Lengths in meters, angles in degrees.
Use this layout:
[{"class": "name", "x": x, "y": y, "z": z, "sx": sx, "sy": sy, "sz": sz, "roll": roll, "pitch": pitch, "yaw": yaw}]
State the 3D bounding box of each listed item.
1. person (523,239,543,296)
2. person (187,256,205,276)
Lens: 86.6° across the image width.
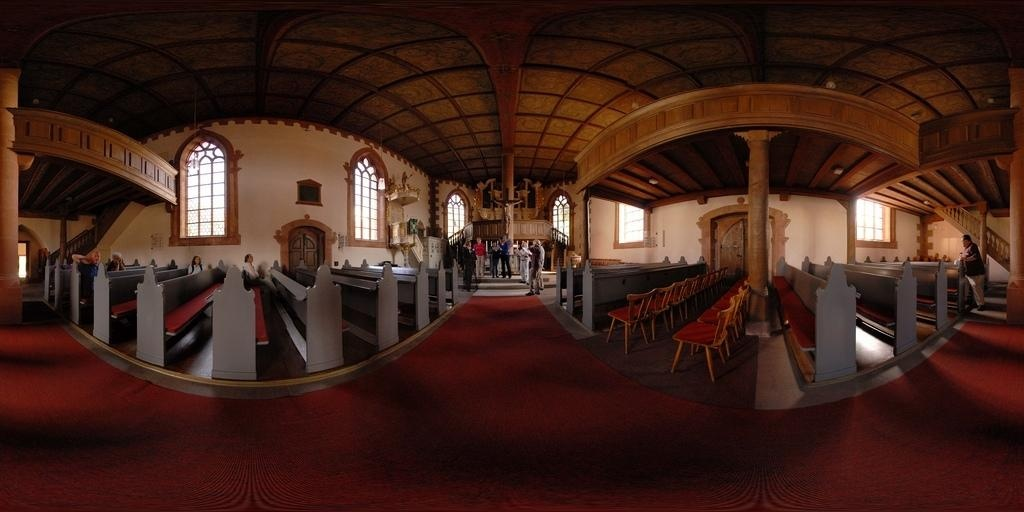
[{"class": "person", "x": 0.742, "y": 0.371, "z": 16.933, "sx": 0.445, "sy": 1.637, "sz": 0.704, "roll": 3, "pitch": -2, "yaw": 0}, {"class": "person", "x": -9.992, "y": 0.302, "z": 17.279, "sx": 0.458, "sy": 0.984, "sz": 0.521, "roll": 3, "pitch": 7, "yaw": -31}]
